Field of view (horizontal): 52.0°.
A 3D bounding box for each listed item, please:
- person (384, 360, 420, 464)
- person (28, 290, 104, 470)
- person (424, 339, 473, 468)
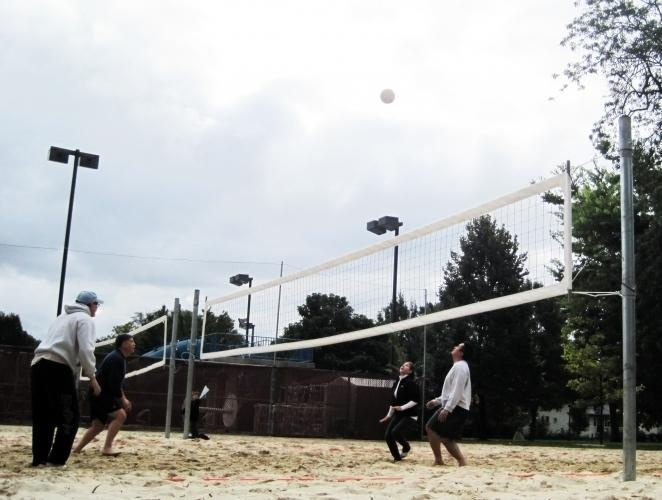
[{"bbox_3d":[1.065,2.474,10.499,0.577,1.471,0.797,0,-14,0],"label":"person"},{"bbox_3d":[-3.148,1.457,8.018,0.762,2.065,0.513,3,-14,-14],"label":"person"},{"bbox_3d":[1.641,2.110,9.431,0.625,1.658,0.947,-2,-14,9],"label":"person"}]
